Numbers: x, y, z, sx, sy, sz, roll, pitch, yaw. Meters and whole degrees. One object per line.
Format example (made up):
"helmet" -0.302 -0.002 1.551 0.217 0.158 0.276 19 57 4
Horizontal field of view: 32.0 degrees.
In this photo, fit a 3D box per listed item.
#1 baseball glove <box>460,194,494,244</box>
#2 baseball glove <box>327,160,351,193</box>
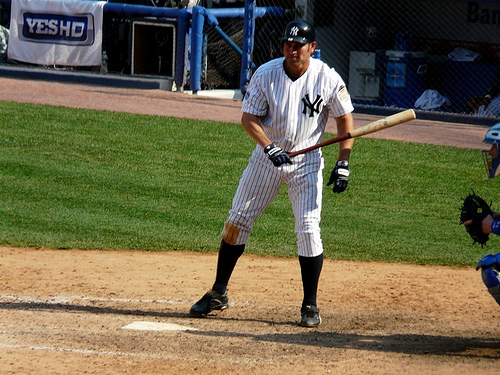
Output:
"baseball glove" 2.356 0.326 8.950 0.158 0.416 0.441 -3 54 -45
"baseball glove" 0.952 -0.125 9.171 0.213 0.388 0.111 13 27 0
